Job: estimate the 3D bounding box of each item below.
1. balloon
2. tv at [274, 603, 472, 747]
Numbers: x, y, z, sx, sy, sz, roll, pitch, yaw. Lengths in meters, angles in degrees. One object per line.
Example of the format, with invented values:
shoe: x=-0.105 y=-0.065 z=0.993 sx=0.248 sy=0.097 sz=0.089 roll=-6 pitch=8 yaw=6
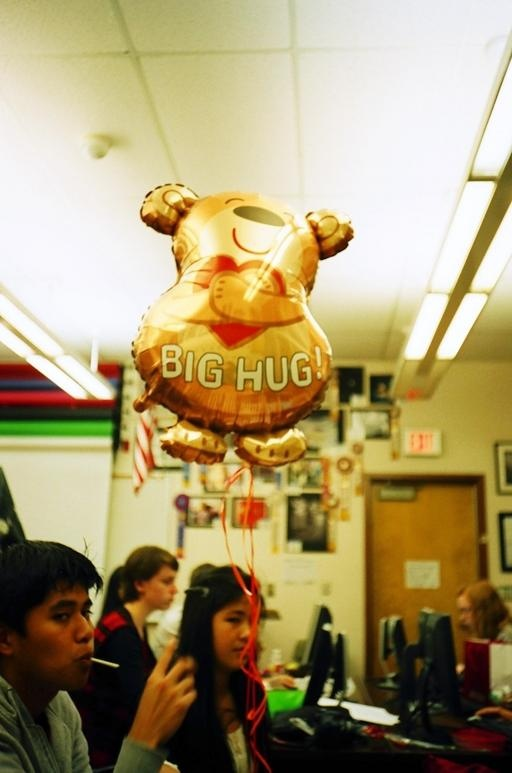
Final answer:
balloon: x=-0.019 y=-0.167 z=1.569 sx=0.514 sy=0.696 sz=0.243 roll=5 pitch=-15 yaw=-11
tv: x=0.452 y=0.970 z=2.376 sx=0.427 sy=0.255 sz=0.421 roll=0 pitch=-4 yaw=2
